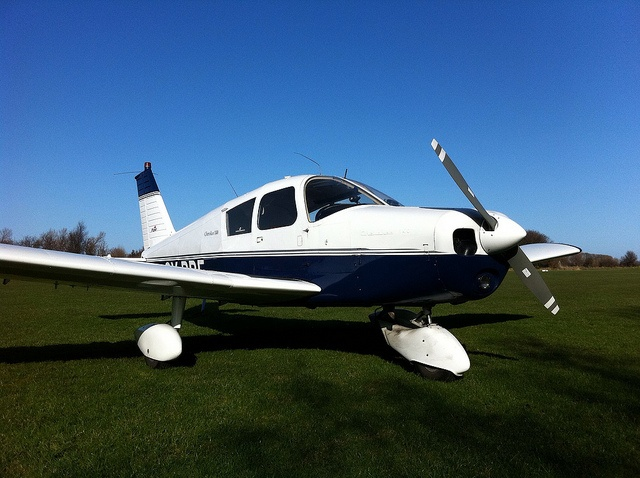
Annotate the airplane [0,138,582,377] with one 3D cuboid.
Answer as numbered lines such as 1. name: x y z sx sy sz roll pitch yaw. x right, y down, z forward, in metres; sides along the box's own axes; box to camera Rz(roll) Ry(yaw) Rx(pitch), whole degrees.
1. airplane: -0.162 0.183 6.520 6.170 3.086 3.199 0 1 2
